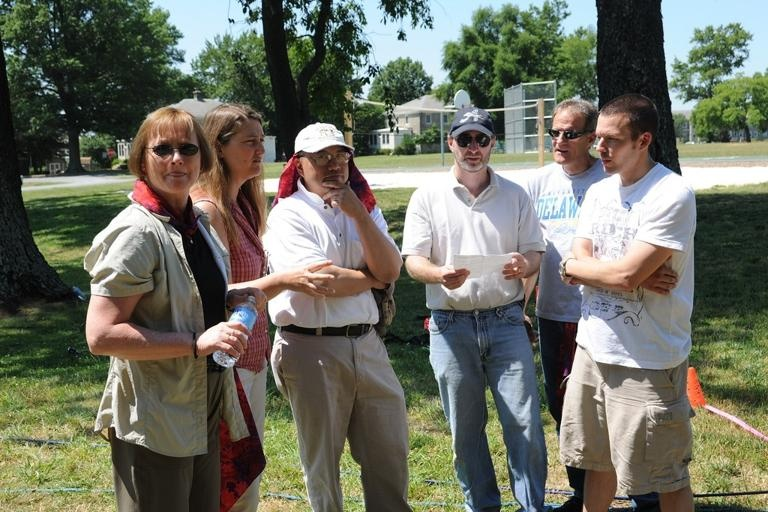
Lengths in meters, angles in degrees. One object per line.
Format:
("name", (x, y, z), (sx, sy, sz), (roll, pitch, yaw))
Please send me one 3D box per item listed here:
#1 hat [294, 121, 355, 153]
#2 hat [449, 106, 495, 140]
("hat", (-0.545, -0.997, 6.580), (0.497, 0.257, 0.253), (-4, 8, 2))
("hat", (0.788, -1.189, 7.192), (0.390, 0.287, 0.643), (7, 2, 2))
